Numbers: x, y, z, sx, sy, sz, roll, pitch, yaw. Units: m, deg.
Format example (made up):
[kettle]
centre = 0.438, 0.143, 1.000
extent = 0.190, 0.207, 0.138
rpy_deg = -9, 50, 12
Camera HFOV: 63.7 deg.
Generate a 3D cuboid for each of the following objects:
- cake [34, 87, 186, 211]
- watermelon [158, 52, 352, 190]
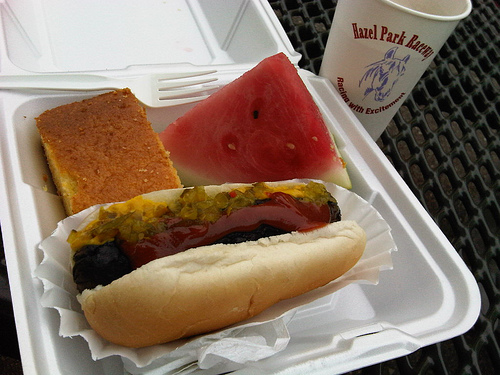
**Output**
[cake]
centre = -0.517, -0.132, 1.445
extent = 0.398, 0.152, 0.526
rpy_deg = -20, 66, -28
[watermelon]
centre = 0.038, -0.255, 1.868
extent = 0.631, 0.271, 0.644
rpy_deg = 33, 91, 7
